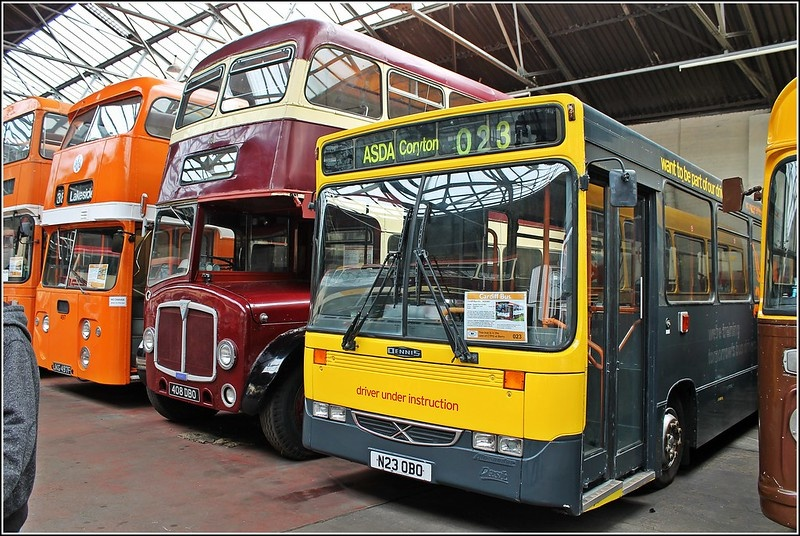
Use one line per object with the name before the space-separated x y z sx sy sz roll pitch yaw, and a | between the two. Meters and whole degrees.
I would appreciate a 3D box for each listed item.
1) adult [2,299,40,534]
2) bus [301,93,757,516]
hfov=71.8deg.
adult | -2.580 1.058 3.770 0.210 1.805 0.415 1 -1 -35
bus | 1.834 0.521 6.350 5.167 2.939 2.166 1 0 -24
